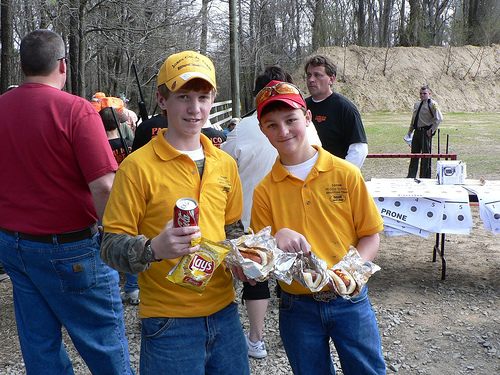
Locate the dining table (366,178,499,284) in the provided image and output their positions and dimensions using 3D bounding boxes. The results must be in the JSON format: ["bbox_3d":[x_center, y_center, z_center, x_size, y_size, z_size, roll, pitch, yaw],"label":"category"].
[{"bbox_3d":[2.311,0.314,5.709,1.926,0.960,1.406,1,32,5],"label":"dining table"}]

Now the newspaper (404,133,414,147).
[{"bbox_3d":[4.666,-1.439,12.310,0.270,0.351,0.826,2,22,24],"label":"newspaper"}]

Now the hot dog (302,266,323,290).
[{"bbox_3d":[0.342,0.518,2.412,0.109,0.044,0.112,46,43,13],"label":"hot dog"}]

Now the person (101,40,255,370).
[{"bbox_3d":[-0.408,0.177,2.490,0.861,1.928,0.803,-1,14,0],"label":"person"}]

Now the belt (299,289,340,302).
[{"bbox_3d":[0.436,0.663,2.578,0.141,0.036,0.142,-2,0,8],"label":"belt"}]

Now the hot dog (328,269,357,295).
[{"bbox_3d":[0.536,0.535,2.421,0.143,0.055,0.144,39,28,-3],"label":"hot dog"}]

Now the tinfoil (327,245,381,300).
[{"bbox_3d":[0.631,0.501,2.528,0.278,0.338,0.117,29,-18,12],"label":"tinfoil"}]

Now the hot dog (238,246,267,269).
[{"bbox_3d":[0.015,0.392,2.353,0.158,0.082,0.052,24,-27,-2],"label":"hot dog"}]
